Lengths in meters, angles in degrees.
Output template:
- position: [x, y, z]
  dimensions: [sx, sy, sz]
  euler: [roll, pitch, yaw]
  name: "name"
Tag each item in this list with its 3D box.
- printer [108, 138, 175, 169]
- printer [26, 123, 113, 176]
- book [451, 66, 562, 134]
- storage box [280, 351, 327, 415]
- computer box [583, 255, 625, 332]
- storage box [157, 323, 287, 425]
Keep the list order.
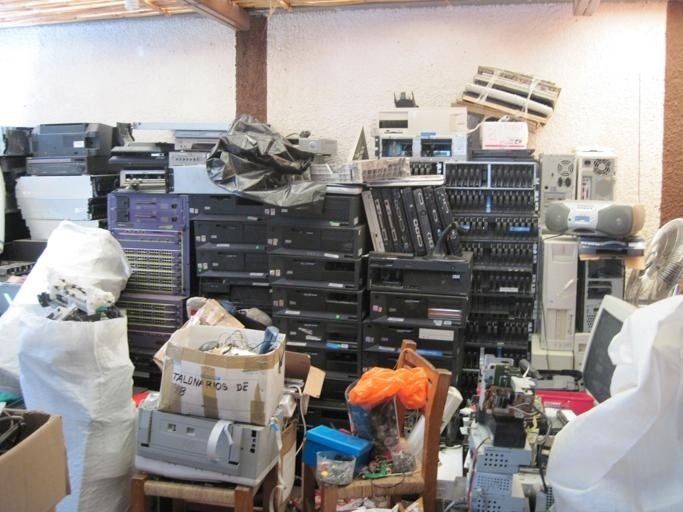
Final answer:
- position: [-1.637, -0.832, 5.349]
  dimensions: [0.591, 0.237, 0.207]
  euler: [5, 9, 20]
  name: "printer"
- position: [-2.374, -0.938, 5.734]
  dimensions: [0.824, 0.400, 0.822]
  euler: [-9, 13, -39]
  name: "printer"
- position: [1.352, -1.267, 5.218]
  dimensions: [0.623, 0.563, 0.206]
  euler: [18, -12, 12]
  name: "book"
- position: [-0.314, 0.775, 4.088]
  dimensions: [0.337, 0.328, 0.338]
  euler: [1, -11, -6]
  name: "storage box"
- position: [1.940, 0.273, 4.792]
  dimensions: [0.316, 0.507, 0.302]
  euler: [-1, 1, 18]
  name: "computer box"
- position: [-0.626, 0.619, 3.466]
  dimensions: [0.595, 0.409, 0.407]
  euler: [4, 8, 10]
  name: "storage box"
